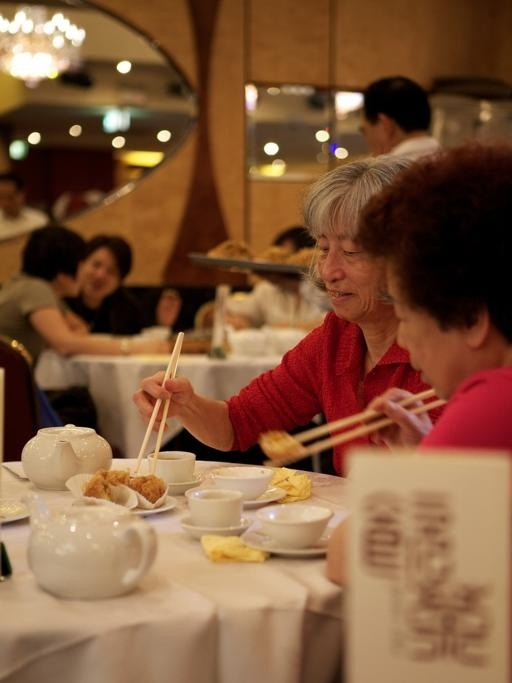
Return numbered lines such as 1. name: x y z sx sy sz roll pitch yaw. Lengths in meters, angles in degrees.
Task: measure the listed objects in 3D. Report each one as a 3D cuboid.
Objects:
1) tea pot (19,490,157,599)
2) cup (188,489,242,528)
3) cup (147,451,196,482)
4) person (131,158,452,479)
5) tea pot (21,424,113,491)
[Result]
1. tea pot: -0.200 0.241 0.773 0.140 0.073 0.104 2 -6 30
2. cup: -0.065 0.254 1.009 0.067 0.044 0.065 -2 3 0
3. cup: -0.166 0.250 1.286 0.083 0.048 0.060 -1 2 10
4. person: 0.129 -0.030 1.982 0.863 1.148 0.693 7 -2 -8
5. tea pot: -0.357 0.199 1.187 0.132 0.076 0.149 0 7 -3
